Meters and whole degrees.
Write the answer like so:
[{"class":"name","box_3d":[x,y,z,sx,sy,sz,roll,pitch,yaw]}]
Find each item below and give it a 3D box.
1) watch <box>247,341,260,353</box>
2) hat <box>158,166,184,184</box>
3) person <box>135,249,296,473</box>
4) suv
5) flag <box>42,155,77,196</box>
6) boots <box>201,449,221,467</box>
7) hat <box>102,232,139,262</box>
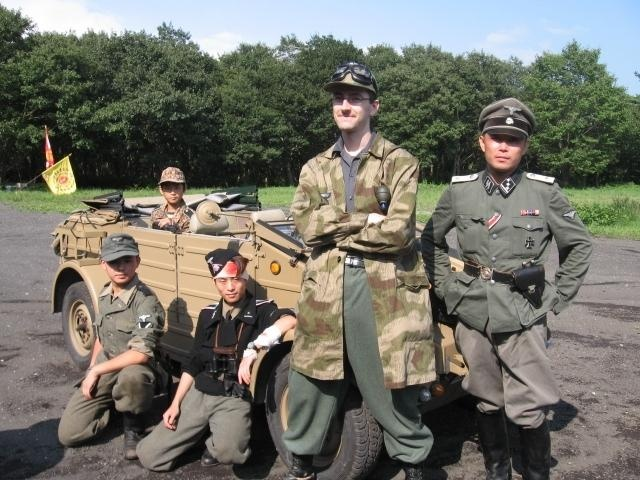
[{"class":"watch","box_3d":[-0.528,0.837,4.160,0.026,0.088,0.078,1,15,-40]},{"class":"hat","box_3d":[-1.845,-0.807,6.607,0.290,0.188,0.483,-1,13,-15]},{"class":"person","box_3d":[-0.875,0.984,4.344,0.999,1.722,0.567,3,10,5]},{"class":"suv","box_3d":[-1.096,0.431,5.460,2.280,1.969,3.698,-5,12,-45]},{"class":"flag","box_3d":[-13.142,-3.234,26.795,1.229,2.117,3.060,-4,13,-26]},{"class":"boots","box_3d":[-0.907,1.783,4.367,0.159,0.130,0.105,0,6,3]},{"class":"hat","box_3d":[-1.827,0.063,4.812,0.207,0.170,0.294,-2,-3,-18]}]
